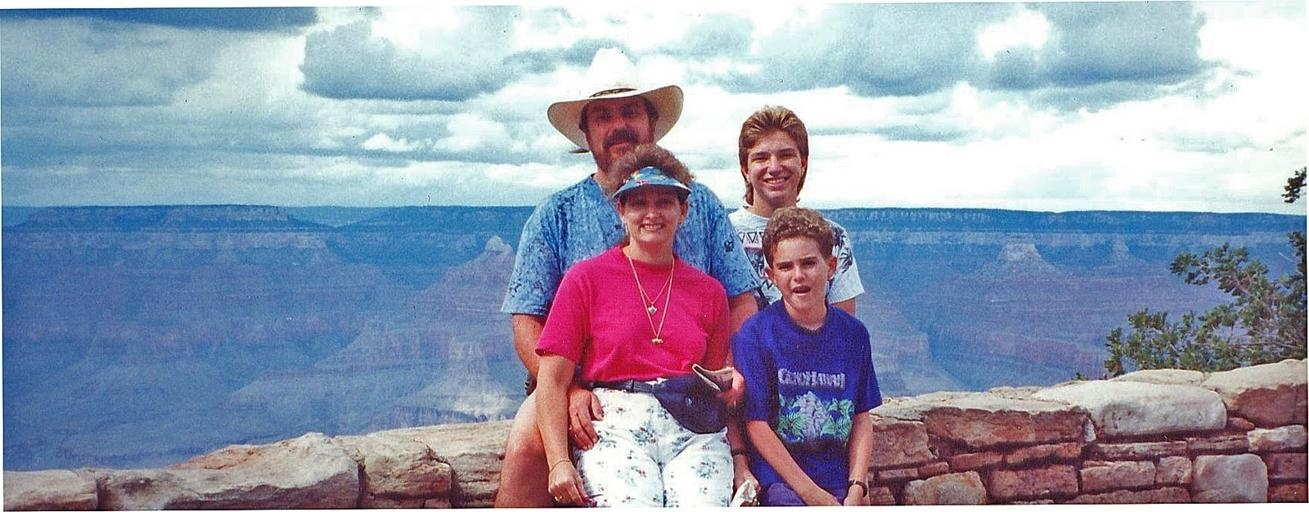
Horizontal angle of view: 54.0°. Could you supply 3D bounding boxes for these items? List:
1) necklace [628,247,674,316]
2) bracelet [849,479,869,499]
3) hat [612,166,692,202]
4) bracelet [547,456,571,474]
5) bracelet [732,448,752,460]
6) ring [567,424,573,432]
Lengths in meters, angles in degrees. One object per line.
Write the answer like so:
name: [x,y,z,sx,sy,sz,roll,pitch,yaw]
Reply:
necklace: [-0.023,0.429,15.622,0.630,0.654,0.294,1,-5,-2]
bracelet: [2.539,2.925,16.032,0.233,0.209,0.148,-37,2,35]
hat: [0.096,-0.810,15.794,0.829,0.180,0.686,1,-18,6]
bracelet: [-1.158,2.575,15.635,0.235,0.119,0.184,-1,-2,5]
bracelet: [1.062,2.483,15.962,0.185,0.090,0.151,0,-12,2]
ring: [-1.025,2.125,15.743,0.087,0.079,0.029,-3,-10,-12]
